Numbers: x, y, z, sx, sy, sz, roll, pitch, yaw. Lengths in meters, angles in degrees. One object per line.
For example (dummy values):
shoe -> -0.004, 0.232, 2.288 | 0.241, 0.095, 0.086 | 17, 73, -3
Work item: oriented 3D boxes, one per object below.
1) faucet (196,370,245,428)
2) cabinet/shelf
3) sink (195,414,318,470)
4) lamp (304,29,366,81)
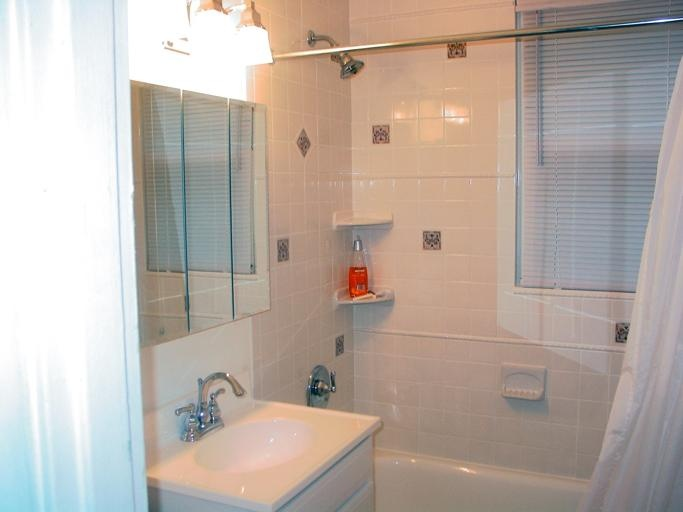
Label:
faucet -> -0.374, 0.448, 1.777 | 0.168, 0.192, 0.161 | -2, -2, 19
cabinet/shelf -> 0.096, 0.006, 2.676 | 0.272, 0.547, 0.445 | 2, 4, 42
sink -> -0.291, 0.618, 1.769 | 0.369, 0.117, 0.164 | -1, 11, -20
lamp -> -0.032, -0.857, 2.287 | 0.229, 0.197, 0.480 | 2, 11, -5
